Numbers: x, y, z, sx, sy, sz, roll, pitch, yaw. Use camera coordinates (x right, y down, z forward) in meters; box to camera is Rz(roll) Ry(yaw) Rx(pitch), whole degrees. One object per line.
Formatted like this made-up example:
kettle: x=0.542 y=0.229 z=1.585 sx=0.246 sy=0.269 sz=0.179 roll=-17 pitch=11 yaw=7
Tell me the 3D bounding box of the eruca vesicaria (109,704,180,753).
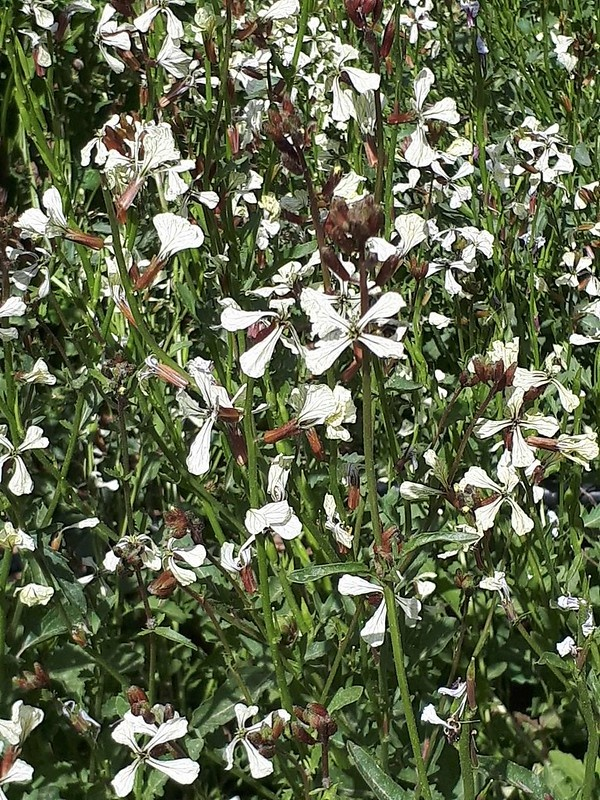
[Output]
eruca vesicaria: x=-0.163 y=0.350 z=0.886 sx=0.061 sy=0.072 sz=0.018 roll=-7 pitch=2 yaw=9
